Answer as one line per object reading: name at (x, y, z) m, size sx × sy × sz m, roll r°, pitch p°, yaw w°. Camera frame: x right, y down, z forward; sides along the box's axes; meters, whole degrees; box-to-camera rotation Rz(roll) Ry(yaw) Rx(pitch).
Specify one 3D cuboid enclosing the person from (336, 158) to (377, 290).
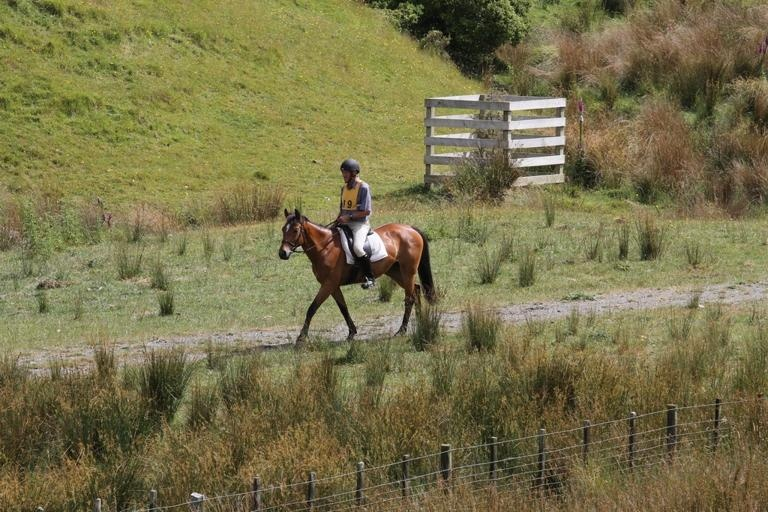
person at (-0.707, -0.789, 42.931) m, size 0.814 × 3.401 × 0.766 m, roll -4°, pitch 2°, yaw -3°

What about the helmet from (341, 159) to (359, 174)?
helmet at (-0.850, -2.308, 42.693) m, size 0.374 × 0.367 × 0.324 m, roll -16°, pitch 24°, yaw -34°

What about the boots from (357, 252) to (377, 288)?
boots at (-0.419, 0.452, 42.944) m, size 0.339 × 0.945 × 0.490 m, roll -23°, pitch -20°, yaw 38°
